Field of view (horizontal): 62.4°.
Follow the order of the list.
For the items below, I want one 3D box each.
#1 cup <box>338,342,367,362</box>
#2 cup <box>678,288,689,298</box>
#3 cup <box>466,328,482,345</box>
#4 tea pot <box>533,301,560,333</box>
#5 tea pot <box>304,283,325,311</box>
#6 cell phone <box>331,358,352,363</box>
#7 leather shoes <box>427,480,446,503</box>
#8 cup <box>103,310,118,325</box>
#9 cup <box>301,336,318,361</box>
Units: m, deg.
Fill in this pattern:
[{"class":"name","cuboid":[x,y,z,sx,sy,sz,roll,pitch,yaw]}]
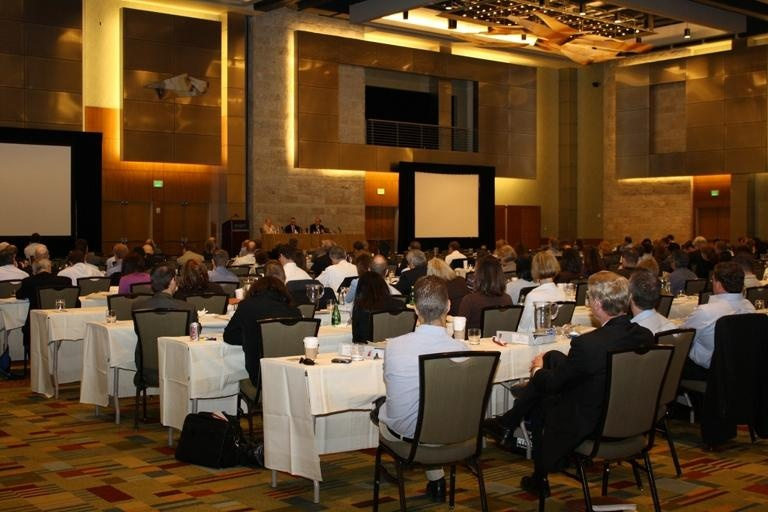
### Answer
[{"class":"cup","cuboid":[-0.277,0.849,5.499,0.232,0.140,0.122,-2,4,-15]},{"class":"cup","cuboid":[4.551,0.577,9.675,0.132,0.121,0.131,-2,2,0]},{"class":"cup","cuboid":[0.864,0.787,6.120,0.151,0.116,0.127,-1,1,20]},{"class":"tea pot","cuboid":[1.561,0.598,6.174,0.320,0.288,0.199,0,-2,-14]},{"class":"tea pot","cuboid":[-0.877,0.495,7.851,0.379,0.416,0.250,1,-4,-14]},{"class":"cell phone","cuboid":[-0.361,0.892,5.350,0.168,0.016,0.162,0,3,3]},{"class":"leather shoes","cuboid":[0.432,1.967,5.259,0.096,0.147,0.219,0,5,-5]},{"class":"cup","cuboid":[-3.091,0.712,7.220,0.168,0.157,0.172,-1,-1,0]},{"class":"cup","cuboid":[-0.615,0.790,5.328,0.097,0.200,0.185,-1,4,-2]}]
